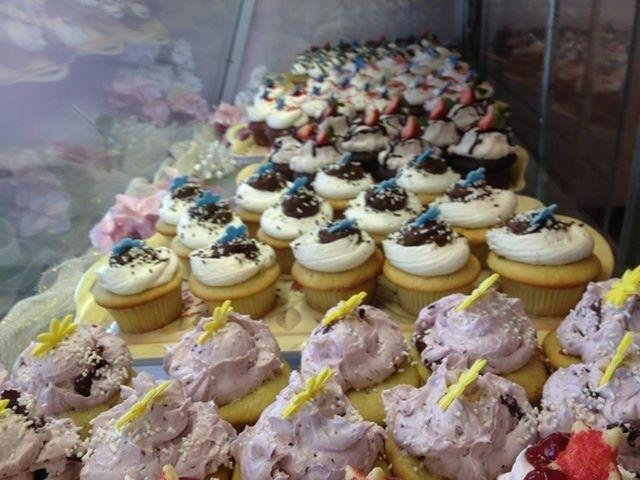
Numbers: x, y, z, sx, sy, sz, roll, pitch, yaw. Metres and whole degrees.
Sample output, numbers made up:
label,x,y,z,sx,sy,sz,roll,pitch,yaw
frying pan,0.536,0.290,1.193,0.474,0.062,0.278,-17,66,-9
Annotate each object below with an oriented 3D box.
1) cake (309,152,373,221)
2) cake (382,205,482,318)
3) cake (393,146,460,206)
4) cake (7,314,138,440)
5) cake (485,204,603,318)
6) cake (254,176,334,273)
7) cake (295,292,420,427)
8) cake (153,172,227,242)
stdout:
label,x,y,z,sx,sy,sz,roll,pitch,yaw
cake,0.125,-0.474,3.669,0.435,0.271,0.372,4,48,-8
cake,0.602,0.113,3.092,0.669,0.519,0.607,6,31,11
cake,0.785,-0.386,3.625,0.434,0.272,0.421,-33,50,-27
cake,-1.150,0.592,2.550,0.584,0.388,0.567,-7,37,-14
cake,1.299,0.088,2.970,0.684,0.527,0.647,-14,20,-19
cake,-0.153,-0.126,3.552,0.650,0.636,0.601,-3,15,0
cake,0.159,0.477,2.541,0.620,0.326,0.589,-27,34,-18
cake,-0.945,-0.215,3.647,0.381,0.156,0.444,5,53,13
